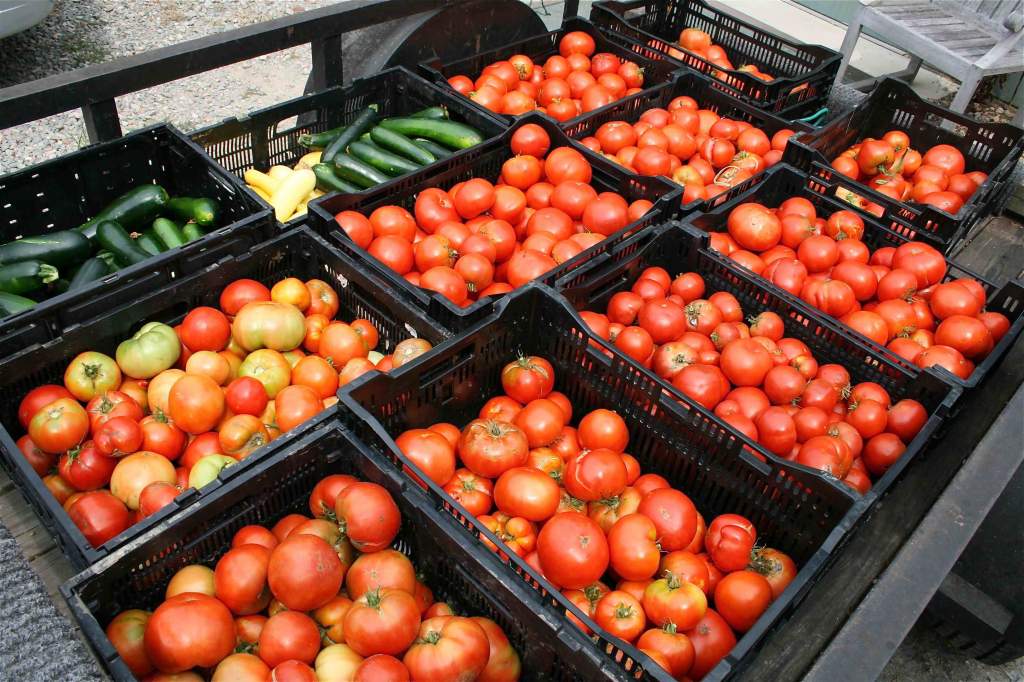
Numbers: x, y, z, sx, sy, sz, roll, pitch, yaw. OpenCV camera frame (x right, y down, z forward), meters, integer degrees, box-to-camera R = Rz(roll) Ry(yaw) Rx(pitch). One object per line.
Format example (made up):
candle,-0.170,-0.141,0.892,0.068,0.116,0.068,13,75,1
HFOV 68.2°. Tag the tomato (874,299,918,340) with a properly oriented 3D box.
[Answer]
tomato,2.076,-0.115,4.187,0.188,0.236,0.202,4,67,7

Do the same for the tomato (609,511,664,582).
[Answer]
tomato,0.508,0.878,3.278,0.237,0.250,0.255,-1,82,0

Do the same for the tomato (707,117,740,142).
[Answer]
tomato,1.436,-1.416,5.128,0.168,0.167,0.177,5,62,3

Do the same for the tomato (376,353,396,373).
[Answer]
tomato,-0.617,0.113,3.710,0.076,0.092,0.077,1,97,0

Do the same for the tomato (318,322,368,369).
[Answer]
tomato,-0.885,0.003,3.878,0.221,0.233,0.250,-13,41,-22

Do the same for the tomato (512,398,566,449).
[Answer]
tomato,0.133,0.391,3.536,0.202,0.217,0.222,8,52,-32

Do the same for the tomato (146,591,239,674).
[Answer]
tomato,-1.208,1.075,2.823,0.302,0.140,0.261,-16,61,-16

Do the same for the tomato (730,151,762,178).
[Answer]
tomato,1.519,-1.171,4.934,0.157,0.165,0.170,-18,86,4

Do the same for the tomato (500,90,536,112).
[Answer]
tomato,0.031,-1.601,5.105,0.218,0.186,0.172,0,33,-10

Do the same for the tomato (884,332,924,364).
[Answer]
tomato,2.078,0.034,4.042,0.160,0.169,0.172,-5,42,15

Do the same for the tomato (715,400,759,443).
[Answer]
tomato,1.091,0.385,3.637,0.155,0.131,0.213,34,20,-14

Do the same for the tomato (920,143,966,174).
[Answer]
tomato,2.969,-1.264,5.237,0.230,0.240,0.231,15,25,39

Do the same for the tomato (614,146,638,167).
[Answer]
tomato,0.728,-1.162,4.813,0.128,0.136,0.164,6,93,9

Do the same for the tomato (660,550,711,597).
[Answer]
tomato,0.725,0.966,3.188,0.177,0.183,0.182,-1,80,4

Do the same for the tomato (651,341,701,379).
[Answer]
tomato,0.815,0.088,3.818,0.175,0.182,0.187,-32,80,-8

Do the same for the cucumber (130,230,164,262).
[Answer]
cucumber,-1.922,-0.489,3.979,0.088,0.082,0.183,-27,67,-22

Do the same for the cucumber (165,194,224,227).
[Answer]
cucumber,-1.764,-0.716,4.221,0.307,0.153,0.130,17,45,23

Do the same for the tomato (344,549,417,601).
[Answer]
tomato,-0.525,0.918,3.018,0.203,0.206,0.210,23,63,-1

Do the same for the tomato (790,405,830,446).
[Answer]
tomato,1.441,0.409,3.653,0.166,0.169,0.169,7,79,-15

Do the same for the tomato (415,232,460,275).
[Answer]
tomato,-0.411,-0.466,4.174,0.217,0.207,0.197,-16,27,9

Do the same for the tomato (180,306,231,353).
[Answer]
tomato,-1.533,-0.049,3.766,0.229,0.247,0.251,-10,84,26

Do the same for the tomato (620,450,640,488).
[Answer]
tomato,0.556,0.598,3.547,0.116,0.149,0.121,-4,14,6

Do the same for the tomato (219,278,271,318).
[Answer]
tomato,-1.347,-0.222,3.809,0.189,0.212,0.202,-3,11,-41

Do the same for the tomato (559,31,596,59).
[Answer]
tomato,0.478,-2.179,5.596,0.229,0.234,0.182,-3,19,3

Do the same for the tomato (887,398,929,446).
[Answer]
tomato,1.925,0.389,3.742,0.167,0.181,0.181,-37,36,-19

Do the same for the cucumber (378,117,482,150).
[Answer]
cucumber,-0.527,-1.278,4.720,0.582,0.159,0.193,12,88,5

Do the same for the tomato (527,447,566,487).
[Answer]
tomato,0.165,0.557,3.473,0.139,0.151,0.170,39,12,-11

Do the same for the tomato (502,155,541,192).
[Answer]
tomato,0.061,-1.026,4.578,0.201,0.215,0.203,0,25,3

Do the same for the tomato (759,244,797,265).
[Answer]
tomato,1.534,-0.496,4.389,0.124,0.139,0.144,-19,90,-1

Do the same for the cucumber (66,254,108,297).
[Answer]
cucumber,-2.119,-0.317,3.764,0.095,0.075,0.236,19,51,27

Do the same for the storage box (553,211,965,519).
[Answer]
storage box,1.201,0.078,4.138,1.896,0.617,1.104,42,64,11

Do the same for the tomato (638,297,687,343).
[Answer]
tomato,0.797,-0.092,3.982,0.221,0.215,0.229,-6,84,34

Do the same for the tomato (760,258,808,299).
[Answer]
tomato,1.535,-0.355,4.314,0.182,0.204,0.255,8,28,5

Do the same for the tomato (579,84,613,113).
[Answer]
tomato,0.568,-1.657,5.210,0.205,0.221,0.216,-10,19,-10

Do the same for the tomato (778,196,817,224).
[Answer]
tomato,1.722,-0.784,4.578,0.172,0.176,0.178,-6,76,31

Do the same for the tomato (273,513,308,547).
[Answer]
tomato,-0.940,0.770,3.226,0.109,0.142,0.115,32,96,-16

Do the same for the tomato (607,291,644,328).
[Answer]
tomato,0.602,-0.173,4.039,0.161,0.180,0.185,-4,63,3

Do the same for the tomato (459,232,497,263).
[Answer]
tomato,-0.196,-0.503,4.095,0.153,0.159,0.151,4,51,0

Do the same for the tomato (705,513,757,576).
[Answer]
tomato,0.955,0.870,3.419,0.224,0.233,0.241,31,94,19

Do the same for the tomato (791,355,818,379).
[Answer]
tomato,1.514,0.131,3.903,0.112,0.112,0.118,-26,95,-39

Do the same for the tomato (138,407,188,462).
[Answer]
tomato,-1.580,0.429,3.423,0.189,0.205,0.246,-4,69,23

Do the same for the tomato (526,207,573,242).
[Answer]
tomato,0.222,-0.664,4.372,0.210,0.195,0.204,42,22,17

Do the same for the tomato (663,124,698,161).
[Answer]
tomato,1.119,-1.311,5.044,0.229,0.170,0.121,45,26,-6

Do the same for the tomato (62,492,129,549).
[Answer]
tomato,-1.762,0.759,3.236,0.194,0.211,0.212,-26,76,-3

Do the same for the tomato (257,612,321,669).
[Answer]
tomato,-0.835,1.107,2.868,0.187,0.190,0.201,6,87,-1

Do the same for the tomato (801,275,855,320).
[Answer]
tomato,1.714,-0.254,4.162,0.231,0.189,0.239,26,9,-36

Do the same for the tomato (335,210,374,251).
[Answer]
tomato,-0.842,-0.616,4.105,0.186,0.233,0.197,-21,23,-8

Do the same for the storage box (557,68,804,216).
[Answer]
storage box,1.164,-1.371,5.058,1.252,0.449,1.245,-40,62,-20

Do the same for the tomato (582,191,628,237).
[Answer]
tomato,0.545,-0.729,4.450,0.293,0.288,0.282,-9,94,-25

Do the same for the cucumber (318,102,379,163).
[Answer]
cucumber,-1.035,-1.277,4.718,0.104,0.118,0.530,44,67,-11

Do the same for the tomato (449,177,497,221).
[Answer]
tomato,-0.216,-0.781,4.395,0.225,0.225,0.228,-16,70,13

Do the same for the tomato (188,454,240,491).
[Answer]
tomato,-1.313,0.578,3.341,0.186,0.198,0.211,8,38,-28
